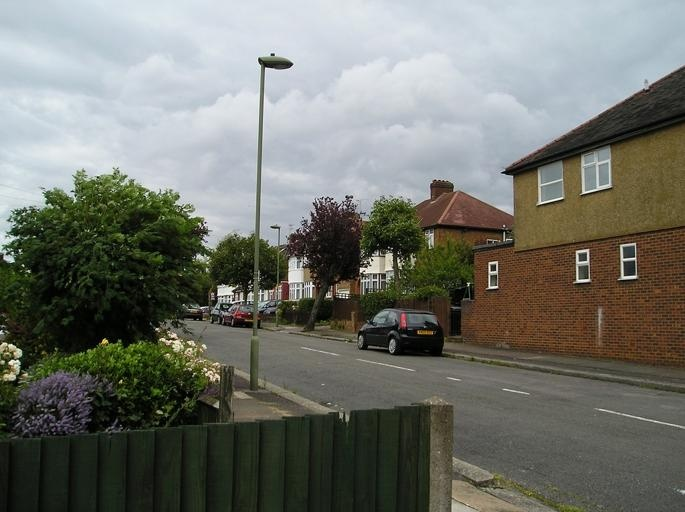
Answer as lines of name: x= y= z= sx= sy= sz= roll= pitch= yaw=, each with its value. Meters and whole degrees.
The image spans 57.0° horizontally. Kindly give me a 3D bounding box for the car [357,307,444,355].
car: x=2.065 y=2.617 z=22.850 sx=1.453 sy=1.257 sz=2.628 roll=5 pitch=-3 yaw=-27
